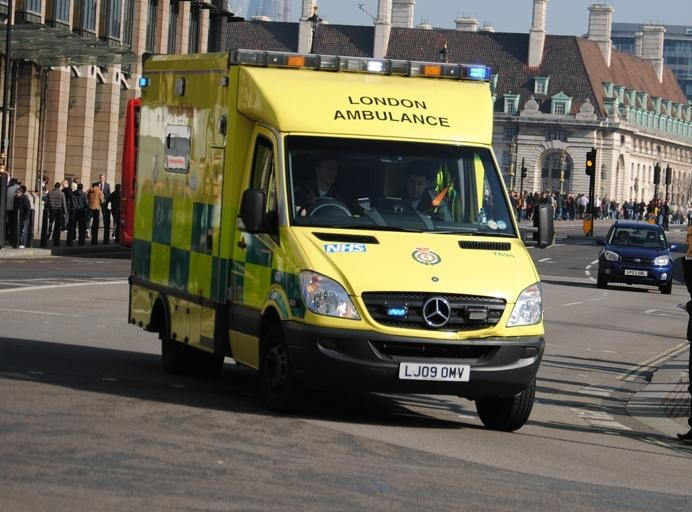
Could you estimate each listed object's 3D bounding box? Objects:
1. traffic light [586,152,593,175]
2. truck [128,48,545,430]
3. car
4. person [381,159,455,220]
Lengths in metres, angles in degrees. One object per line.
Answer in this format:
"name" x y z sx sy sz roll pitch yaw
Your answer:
"traffic light" 12.241 -4.627 54.987 0.366 1.281 1.207 4 5 10
"truck" -0.502 -0.372 11.809 2.365 3.114 5.203 0 0 -17
"car" 7.893 0.039 30.629 1.369 1.479 2.571 3 -6 2
"person" 0.673 -0.617 10.285 0.653 0.541 0.264 4 5 0
